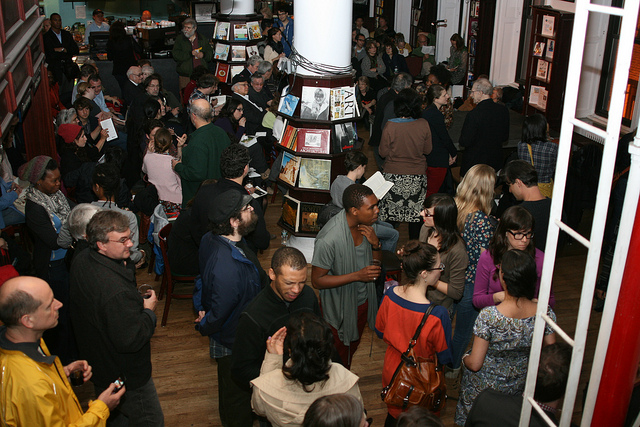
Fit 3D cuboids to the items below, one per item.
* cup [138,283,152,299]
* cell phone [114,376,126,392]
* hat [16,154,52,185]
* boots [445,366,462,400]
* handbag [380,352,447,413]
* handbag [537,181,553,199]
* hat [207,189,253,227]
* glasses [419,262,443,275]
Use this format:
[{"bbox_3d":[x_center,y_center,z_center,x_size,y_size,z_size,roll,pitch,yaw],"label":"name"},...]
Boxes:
[{"bbox_3d":[-1.304,0.591,3.640,0.089,0.090,0.090,4,43,-4],"label":"cup"},{"bbox_3d":[-1.330,1.122,3.204,0.062,0.092,0.033,30,1,14],"label":"cell phone"},{"bbox_3d":[-2.802,-0.415,4.774,0.481,0.315,0.141,15,15,35],"label":"hat"},{"bbox_3d":[1.250,1.574,4.575,0.146,0.216,0.306,8,13,13],"label":"boots"},{"bbox_3d":[0.675,1.196,3.455,0.412,0.415,0.247,1,17,-8],"label":"handbag"},{"bbox_3d":[2.283,-0.241,4.940,0.140,0.202,0.108,-11,8,-25],"label":"handbag"},{"bbox_3d":[-0.697,-0.002,3.827,0.303,0.116,0.229,-39,46,-7],"label":"hat"},{"bbox_3d":[0.840,0.407,3.540,0.097,0.031,0.099,-10,7,2],"label":"glasses"}]
